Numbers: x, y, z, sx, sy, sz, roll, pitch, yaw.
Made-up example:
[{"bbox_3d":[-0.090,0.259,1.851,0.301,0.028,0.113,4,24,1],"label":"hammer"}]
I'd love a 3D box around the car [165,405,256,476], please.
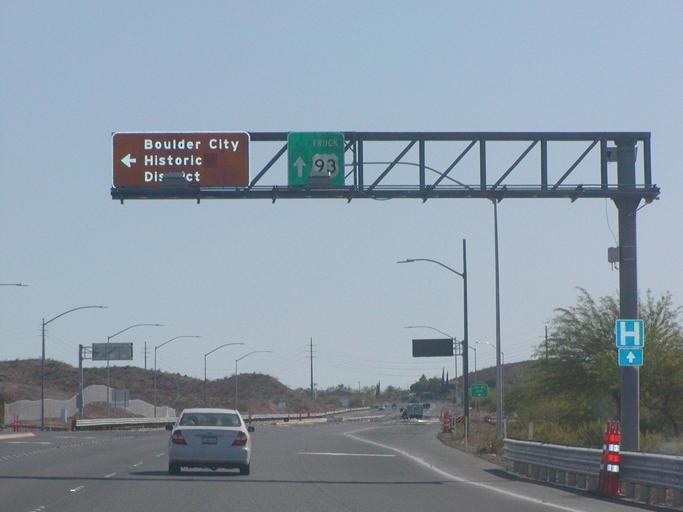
[{"bbox_3d":[-5.744,7.639,62.522,3.359,2.521,1.543,3,-10,-12],"label":"car"}]
